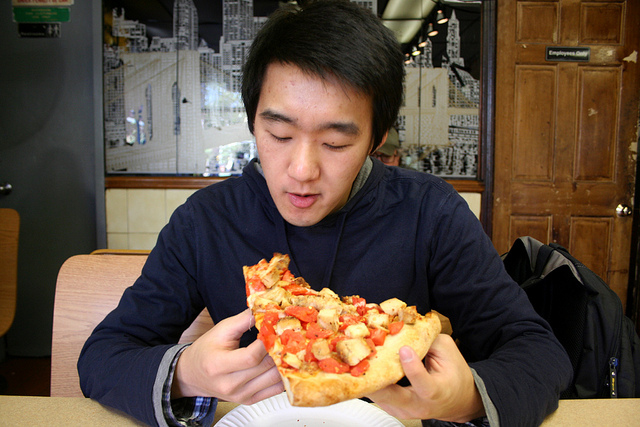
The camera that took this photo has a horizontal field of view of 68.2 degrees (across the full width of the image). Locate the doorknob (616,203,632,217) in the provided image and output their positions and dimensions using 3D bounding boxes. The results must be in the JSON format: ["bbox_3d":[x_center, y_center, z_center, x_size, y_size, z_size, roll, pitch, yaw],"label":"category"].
[{"bbox_3d":[3.139,-0.034,4.842,0.155,0.139,0.052,1,11,1],"label":"doorknob"}]
